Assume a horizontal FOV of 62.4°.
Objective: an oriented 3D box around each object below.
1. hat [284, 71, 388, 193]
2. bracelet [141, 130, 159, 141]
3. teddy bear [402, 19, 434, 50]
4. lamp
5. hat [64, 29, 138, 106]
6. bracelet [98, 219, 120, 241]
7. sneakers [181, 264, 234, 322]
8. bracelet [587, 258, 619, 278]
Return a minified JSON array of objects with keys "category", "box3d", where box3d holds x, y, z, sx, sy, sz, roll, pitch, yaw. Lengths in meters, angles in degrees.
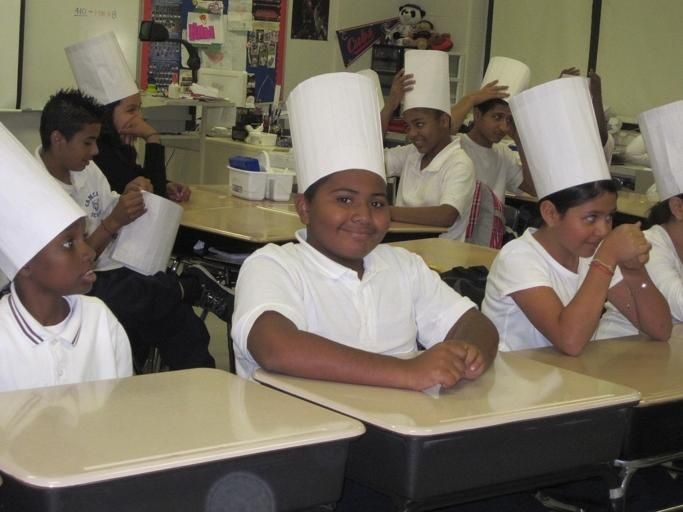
[{"category":"hat","box3d":[-0.008,-0.319,1.526,0.303,0.260,0.257,-6,-11,-24]},{"category":"bracelet","box3d":[-1.154,-0.722,3.366,0.060,0.045,0.060,0,-15,-2]},{"category":"teddy bear","box3d":[1.024,-2.981,7.558,0.416,0.416,0.735,3,16,7]},{"category":"lamp","box3d":[-1.578,-1.867,5.234,0.475,0.497,0.892,-2,17,-10]},{"category":"hat","box3d":[-1.334,-1.024,3.251,0.491,0.474,0.121,-10,3,13]},{"category":"bracelet","box3d":[-0.952,-0.106,2.292,0.063,0.062,0.058,42,7,14]},{"category":"sneakers","box3d":[-0.505,0.129,2.090,0.125,0.107,0.308,-10,35,-31]},{"category":"bracelet","box3d":[0.720,0.032,1.542,0.059,0.021,0.044,29,-2,11]}]
